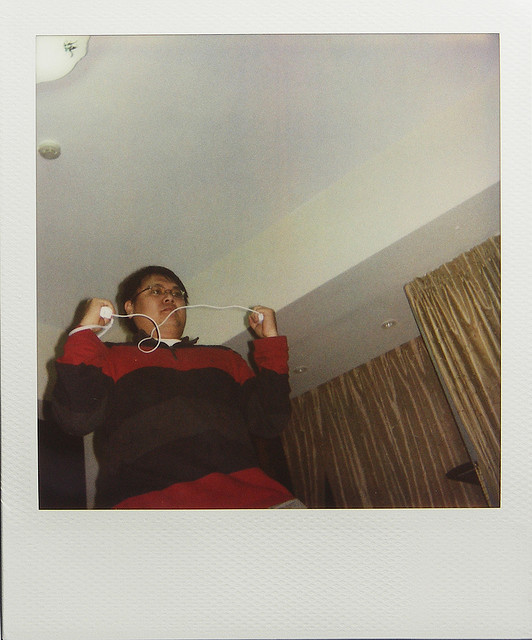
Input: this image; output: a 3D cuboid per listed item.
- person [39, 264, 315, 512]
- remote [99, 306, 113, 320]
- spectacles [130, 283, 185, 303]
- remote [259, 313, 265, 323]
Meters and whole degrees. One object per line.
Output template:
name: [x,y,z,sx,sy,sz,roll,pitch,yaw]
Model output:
person: [-0.301,0.214,1.842,0.757,0.652,0.264,0,-8,-5]
remote: [-0.429,-0.020,1.525,0.034,0.028,0.007,5,-1,-1]
spectacles: [-0.296,-0.072,1.535,0.144,0.049,0.023,-10,-29,-8]
remote: [-0.009,-0.004,1.519,0.023,0.025,0.011,3,-4,-1]
